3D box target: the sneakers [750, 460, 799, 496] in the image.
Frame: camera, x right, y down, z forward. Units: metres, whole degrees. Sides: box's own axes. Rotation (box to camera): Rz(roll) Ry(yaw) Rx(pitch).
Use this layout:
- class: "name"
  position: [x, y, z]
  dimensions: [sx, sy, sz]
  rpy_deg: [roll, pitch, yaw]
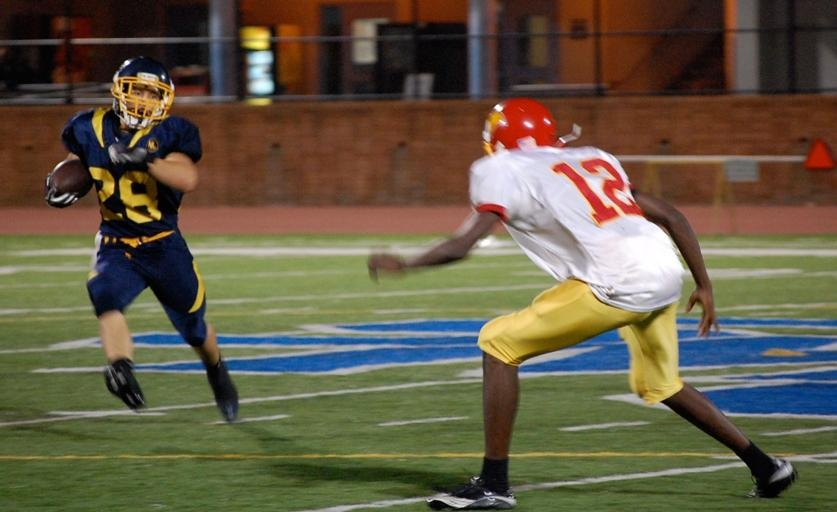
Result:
- class: "sneakers"
  position: [2.930, 1.801, 11.275]
  dimensions: [0.448, 0.139, 0.297]
  rpy_deg: [-9, -3, 23]

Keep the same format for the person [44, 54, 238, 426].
- class: "person"
  position: [-2.425, -0.103, 12.183]
  dimensions: [1.186, 3.237, 0.942]
  rpy_deg: [-8, 13, -29]

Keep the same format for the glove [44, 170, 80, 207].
- class: "glove"
  position: [-3.185, -0.578, 12.173]
  dimensions: [0.396, 0.266, 0.309]
  rpy_deg: [2, -4, 6]

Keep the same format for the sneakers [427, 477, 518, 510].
- class: "sneakers"
  position: [0.433, 1.912, 11.159]
  dimensions: [0.810, 0.231, 0.225]
  rpy_deg: [4, -30, -1]
